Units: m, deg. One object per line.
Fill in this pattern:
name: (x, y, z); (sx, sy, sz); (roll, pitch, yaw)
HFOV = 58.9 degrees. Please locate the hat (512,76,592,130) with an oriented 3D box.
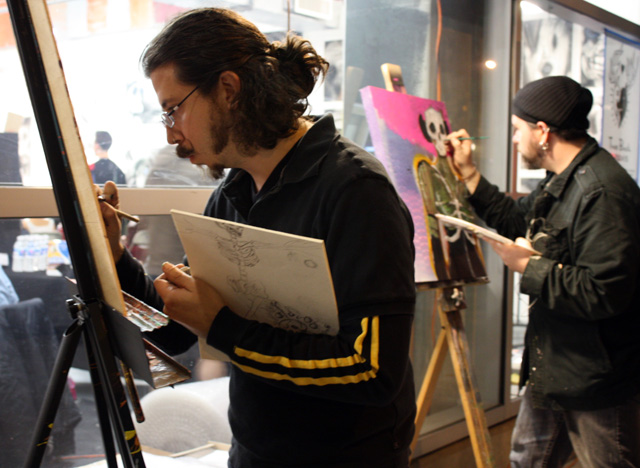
hat: (0.942, -0.535, 2.309); (0.268, 0.171, 0.216); (12, 24, 21)

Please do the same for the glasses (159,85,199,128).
glasses: (-0.372, -0.326, 1.534); (0.102, 0.031, 0.097); (-47, 13, -8)
